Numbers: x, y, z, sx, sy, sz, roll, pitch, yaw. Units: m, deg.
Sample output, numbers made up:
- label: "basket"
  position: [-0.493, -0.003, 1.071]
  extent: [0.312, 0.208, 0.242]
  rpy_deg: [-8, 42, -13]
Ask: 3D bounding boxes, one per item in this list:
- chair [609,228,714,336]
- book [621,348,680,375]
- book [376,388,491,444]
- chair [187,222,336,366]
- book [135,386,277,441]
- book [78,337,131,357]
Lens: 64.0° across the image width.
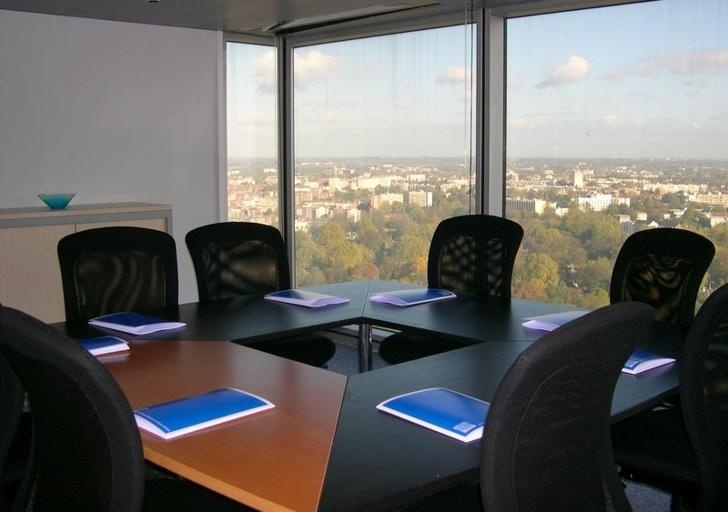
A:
- label: "chair"
  position: [1.570, 0.129, 3.072]
  extent: [0.401, 0.490, 0.407]
  rpy_deg: [-22, 26, -40]
- label: "book"
  position: [1.173, 0.438, 2.394]
  extent: [0.194, 0.040, 0.197]
  rpy_deg: [-8, 10, -31]
- label: "book"
  position: [0.276, 0.548, 2.118]
  extent: [0.398, 0.044, 0.283]
  rpy_deg: [9, 14, 35]
- label: "chair"
  position: [-0.852, 0.449, 4.087]
  extent: [0.650, 0.900, 1.168]
  rpy_deg: [-2, -31, -7]
- label: "book"
  position: [-0.567, 0.553, 2.093]
  extent: [0.455, 0.037, 0.223]
  rpy_deg: [-7, 14, -33]
- label: "book"
  position: [-1.123, 0.396, 2.529]
  extent: [0.181, 0.044, 0.173]
  rpy_deg: [-2, 9, -37]
